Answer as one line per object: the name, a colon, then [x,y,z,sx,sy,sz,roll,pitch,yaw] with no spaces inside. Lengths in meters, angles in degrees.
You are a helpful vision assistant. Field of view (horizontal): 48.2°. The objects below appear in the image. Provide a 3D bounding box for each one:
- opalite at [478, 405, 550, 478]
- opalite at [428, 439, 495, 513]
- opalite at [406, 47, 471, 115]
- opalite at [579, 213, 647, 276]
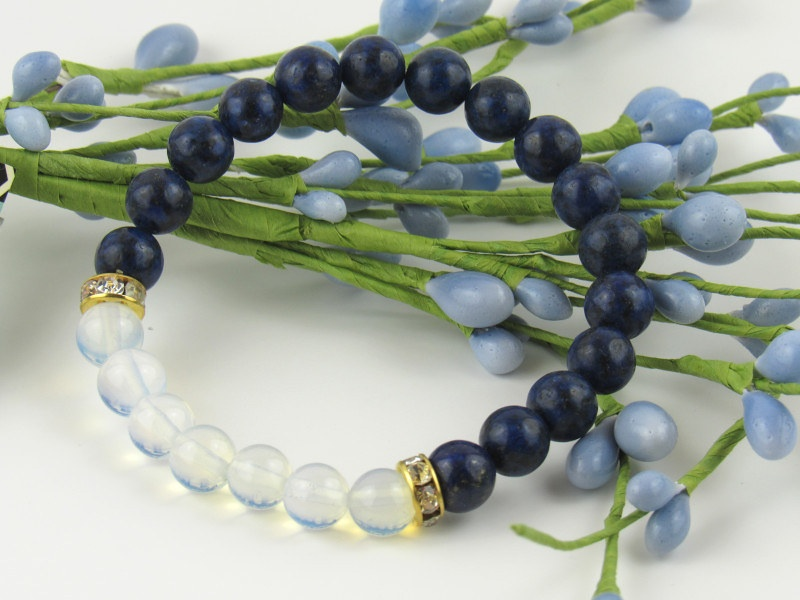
opalite: [0.133,0.157,1.041,0.079,0.104,0.083,8,2,14]
opalite: [0.073,0.201,1.045,0.066,0.087,0.073,3,23,7]
opalite: [0.046,-0.290,1.137,0.077,0.097,0.077,15,31,38]
opalite: [0.256,-0.055,1.095,0.068,0.077,0.080,4,19,-32]
